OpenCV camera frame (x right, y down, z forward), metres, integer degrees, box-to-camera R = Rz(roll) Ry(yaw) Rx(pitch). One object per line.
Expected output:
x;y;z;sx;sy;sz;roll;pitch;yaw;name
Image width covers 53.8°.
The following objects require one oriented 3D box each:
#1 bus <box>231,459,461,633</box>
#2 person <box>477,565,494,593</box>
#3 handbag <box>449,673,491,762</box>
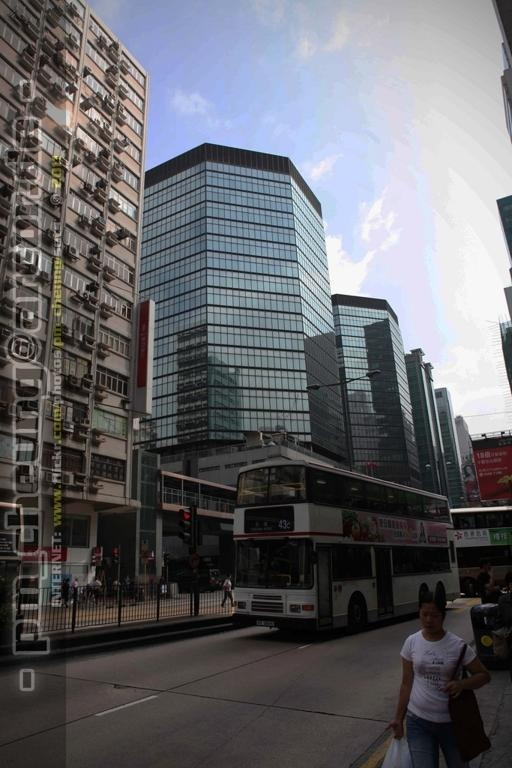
4.138;5.598;17.669;2.710;5.420;12.847;-15;-17;36;bus
4.423;3.819;9.747;0.242;0.541;0.852;-10;-15;21;person
1.080;1.752;2.560;0.165;0.352;0.285;-9;-15;18;handbag
